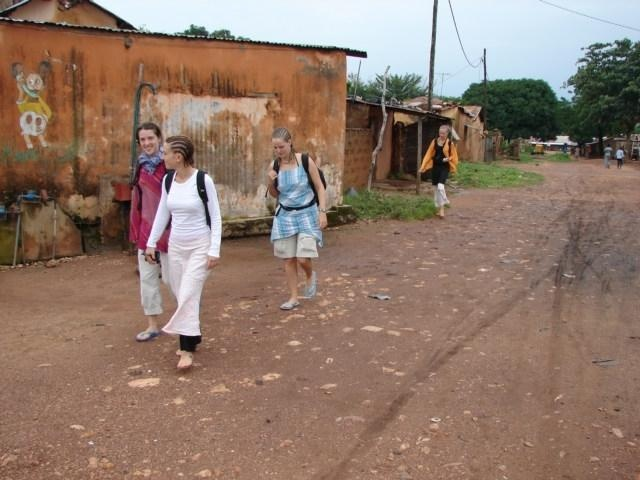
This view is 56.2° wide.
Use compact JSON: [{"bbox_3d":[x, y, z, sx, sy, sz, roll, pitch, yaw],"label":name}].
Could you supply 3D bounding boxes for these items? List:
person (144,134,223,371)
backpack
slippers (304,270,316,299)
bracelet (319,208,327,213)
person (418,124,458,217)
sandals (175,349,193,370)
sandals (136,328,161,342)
[{"bbox_3d":[-1.231,0.118,5.621,0.584,2.129,0.529,0,11,8],"label":"person"},{"bbox_3d":[-0.225,-0.793,7.150,0.693,0.721,0.461,-9,24,-13],"label":"backpack"},{"bbox_3d":[-0.101,0.556,7.437,0.090,0.353,0.121,9,-7,-32],"label":"slippers"},{"bbox_3d":[0.032,-0.339,6.914,0.054,0.046,0.064,8,1,32],"label":"bracelet"},{"bbox_3d":[2.631,-1.512,13.170,0.554,1.951,0.849,-4,11,-16],"label":"person"},{"bbox_3d":[-1.284,1.146,5.653,0.088,0.193,0.240,-7,-8,6],"label":"sandals"},{"bbox_3d":[-1.805,1.000,6.264,0.104,0.084,0.195,-5,-7,34],"label":"sandals"}]
